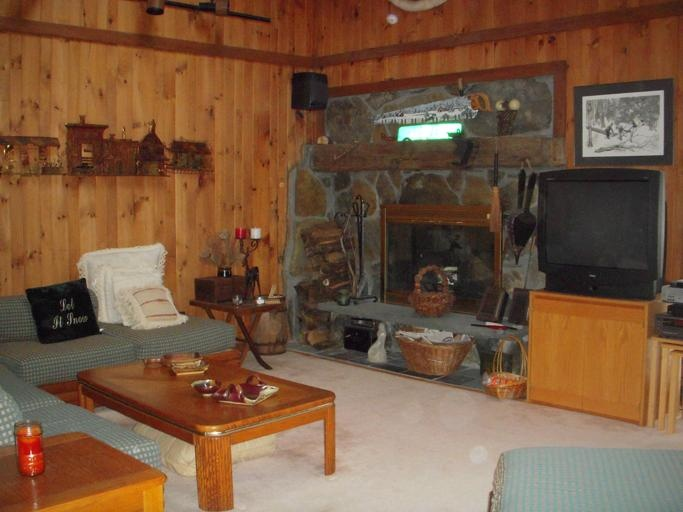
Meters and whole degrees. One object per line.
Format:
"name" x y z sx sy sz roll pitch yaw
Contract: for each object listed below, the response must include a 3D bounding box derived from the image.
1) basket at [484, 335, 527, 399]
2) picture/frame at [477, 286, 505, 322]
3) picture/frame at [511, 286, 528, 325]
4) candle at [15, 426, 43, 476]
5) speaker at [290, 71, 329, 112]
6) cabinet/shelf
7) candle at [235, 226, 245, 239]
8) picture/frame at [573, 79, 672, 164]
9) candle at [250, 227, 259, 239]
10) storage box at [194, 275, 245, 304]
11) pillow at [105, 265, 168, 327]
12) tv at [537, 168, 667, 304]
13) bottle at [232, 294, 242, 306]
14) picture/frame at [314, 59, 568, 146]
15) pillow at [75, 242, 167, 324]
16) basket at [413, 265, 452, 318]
"basket" 1.345 0.867 4.522 0.326 0.498 0.546 2 7 16
"picture/frame" 1.306 0.429 4.808 0.080 0.297 0.226 35 -17 -36
"picture/frame" 1.510 0.440 4.699 0.146 0.303 0.149 2 7 19
"candle" -1.125 0.701 1.998 0.125 0.157 0.123 -1 -4 -41
"speaker" -0.331 -1.844 6.188 0.299 0.372 0.411 11 16 33
"cabinet/shelf" 1.967 0.758 4.240 0.481 0.807 0.881 5 -3 -41
"candle" -0.996 -0.217 5.403 0.099 0.115 0.102 -2 7 -11
"picture/frame" 2.285 -1.084 4.426 0.771 0.649 0.059 2 3 35
"candle" -0.848 -0.229 5.433 0.109 0.119 0.107 2 -2 -41
"storage box" -1.207 0.309 5.328 0.268 0.171 0.369 3 4 37
"pillow" -1.947 0.361 4.838 0.427 0.464 0.142 8 -17 -26
"tv" 1.932 -0.147 4.029 0.974 0.982 0.591 4 6 43
"bottle" -0.982 0.411 5.211 0.083 0.086 0.082 3 6 12
"picture/frame" 0.920 -1.447 5.370 2.410 0.690 0.193 4 8 36
"pillow" -1.942 0.178 4.772 0.694 0.669 0.261 0 -19 -35
"basket" 0.864 0.316 5.265 0.496 0.535 0.442 0 1 6
